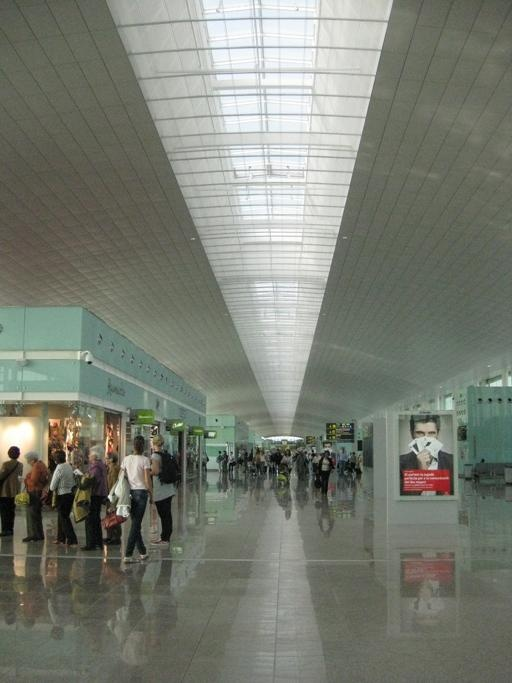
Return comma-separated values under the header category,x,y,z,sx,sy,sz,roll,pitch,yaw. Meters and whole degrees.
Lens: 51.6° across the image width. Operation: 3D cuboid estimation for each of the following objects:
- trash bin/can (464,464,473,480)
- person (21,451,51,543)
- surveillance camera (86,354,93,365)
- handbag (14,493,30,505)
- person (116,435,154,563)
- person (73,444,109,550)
category,x,y,z,sx,sy,sz,roll,pitch,yaw
trash bin/can,5.922,3.601,14.656,0.187,0.170,4.022,-8,-12,21
person,-4.128,2.858,9.894,0.421,1.577,1.044,2,-12,-24
surveillance camera,-4.480,0.472,14.133,0.157,0.269,0.270,0,18,-1
handbag,-4.388,2.931,9.889,0.225,0.194,0.352,2,-13,-25
person,-1.705,2.178,7.410,0.389,1.685,0.606,-4,-11,5
person,-2.687,2.560,8.703,0.385,1.598,0.611,-5,-11,10
